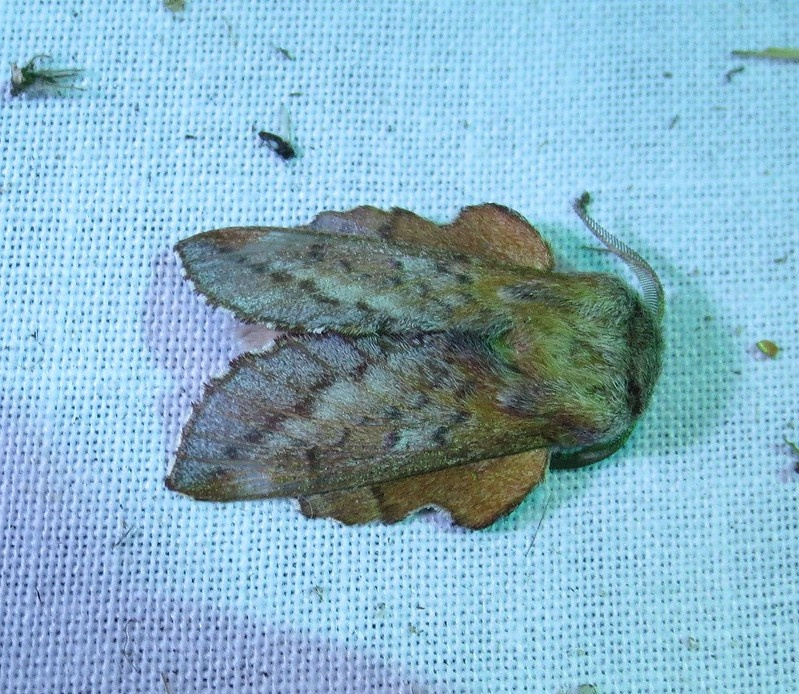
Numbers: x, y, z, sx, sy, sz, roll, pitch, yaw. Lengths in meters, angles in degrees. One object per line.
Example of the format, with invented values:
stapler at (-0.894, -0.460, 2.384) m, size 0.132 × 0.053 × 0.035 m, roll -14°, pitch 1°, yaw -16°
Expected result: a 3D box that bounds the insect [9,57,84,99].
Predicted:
insect at (-0.611, -0.462, 2.007) m, size 0.090 × 0.026 × 0.066 m, roll -5°, pitch 81°, yaw -3°
